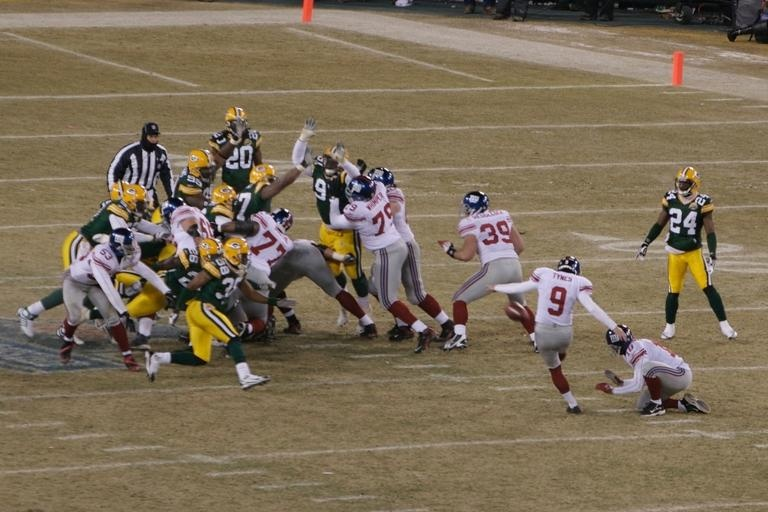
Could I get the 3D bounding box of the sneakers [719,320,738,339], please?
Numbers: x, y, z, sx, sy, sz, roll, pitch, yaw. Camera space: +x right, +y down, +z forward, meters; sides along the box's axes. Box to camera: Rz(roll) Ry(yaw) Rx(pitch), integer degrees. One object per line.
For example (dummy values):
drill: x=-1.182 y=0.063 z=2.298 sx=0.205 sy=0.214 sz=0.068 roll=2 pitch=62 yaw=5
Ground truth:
sneakers: x=5.811 y=1.210 z=26.657 sx=0.302 sy=0.290 sz=0.242 roll=4 pitch=12 yaw=5

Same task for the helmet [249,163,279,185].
helmet: x=-2.045 y=-1.360 z=26.632 sx=0.516 sy=0.352 sz=0.345 roll=-20 pitch=14 yaw=3

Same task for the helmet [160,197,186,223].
helmet: x=-3.446 y=-0.779 z=25.833 sx=0.411 sy=0.376 sz=0.423 roll=16 pitch=15 yaw=23

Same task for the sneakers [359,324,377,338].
sneakers: x=-0.254 y=1.250 z=26.678 sx=0.147 sy=0.200 sz=0.410 roll=18 pitch=2 yaw=-3

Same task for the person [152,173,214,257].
person: x=-3.250 y=-0.646 z=25.848 sx=1.019 sy=0.558 sz=1.599 roll=28 pitch=29 yaw=-28

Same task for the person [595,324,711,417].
person: x=4.262 y=1.824 z=24.674 sx=1.909 sy=1.098 sz=0.966 roll=5 pitch=-6 yaw=16

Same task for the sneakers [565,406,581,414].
sneakers: x=2.951 y=2.373 z=24.582 sx=0.211 sy=0.156 sz=0.112 roll=-1 pitch=11 yaw=9

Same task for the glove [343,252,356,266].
glove: x=-0.563 y=0.040 z=26.227 sx=0.173 sy=0.165 sz=0.170 roll=-10 pitch=5 yaw=-2

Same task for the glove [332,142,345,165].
glove: x=-0.739 y=-1.719 z=26.248 sx=0.145 sy=0.210 sz=0.319 roll=5 pitch=23 yaw=-19

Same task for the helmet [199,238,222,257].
helmet: x=-2.703 y=-0.158 z=24.752 sx=0.390 sy=0.227 sz=0.255 roll=-10 pitch=12 yaw=6

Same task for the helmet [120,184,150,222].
helmet: x=-4.002 y=-0.890 z=25.516 sx=0.437 sy=0.531 sz=0.267 roll=2 pitch=13 yaw=-8

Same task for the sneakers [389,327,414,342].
sneakers: x=0.296 y=1.293 z=26.688 sx=0.537 sy=0.206 sz=0.183 roll=1 pitch=13 yaw=7

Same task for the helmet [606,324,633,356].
helmet: x=3.620 y=1.278 z=24.378 sx=0.403 sy=0.513 sz=0.444 roll=8 pitch=13 yaw=20

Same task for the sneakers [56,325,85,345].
sneakers: x=-5.067 y=1.264 z=25.560 sx=0.450 sy=0.119 sz=0.282 roll=20 pitch=2 yaw=-13

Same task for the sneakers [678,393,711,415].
sneakers: x=4.821 y=2.276 z=24.576 sx=0.531 sy=0.201 sz=0.204 roll=20 pitch=56 yaw=0

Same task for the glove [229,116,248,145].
glove: x=-2.608 y=-2.272 z=28.313 sx=0.393 sy=0.412 sz=0.411 roll=5 pitch=23 yaw=-9

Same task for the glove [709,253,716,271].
glove: x=5.611 y=0.062 z=27.021 sx=0.144 sy=0.322 sz=0.173 roll=3 pitch=15 yaw=19

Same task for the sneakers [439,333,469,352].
sneakers: x=1.204 y=1.428 z=26.178 sx=0.573 sy=0.234 sz=0.176 roll=-5 pitch=20 yaw=2

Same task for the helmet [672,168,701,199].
helmet: x=5.117 y=-1.296 z=26.961 sx=0.500 sy=0.453 sz=0.639 roll=7 pitch=10 yaw=29

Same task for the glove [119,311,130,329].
glove: x=-4.099 y=0.981 z=24.975 sx=0.123 sy=0.095 sz=0.327 roll=12 pitch=-13 yaw=-8

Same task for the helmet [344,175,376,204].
helmet: x=-0.393 y=-1.100 z=26.122 sx=0.527 sy=0.320 sz=0.451 roll=22 pitch=-14 yaw=-14

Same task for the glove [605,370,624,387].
glove: x=3.618 y=1.914 z=24.885 sx=0.314 sy=0.099 sz=0.131 roll=37 pitch=-24 yaw=-12

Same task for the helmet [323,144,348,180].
helmet: x=-0.832 y=-1.620 z=26.497 sx=0.508 sy=0.454 sz=0.579 roll=15 pitch=-4 yaw=-7

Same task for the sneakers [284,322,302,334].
sneakers: x=-1.500 y=1.201 z=26.830 sx=0.321 sy=0.163 sz=0.163 roll=-2 pitch=20 yaw=8

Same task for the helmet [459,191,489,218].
helmet: x=1.513 y=-0.911 z=26.467 sx=0.527 sy=0.368 sz=0.362 roll=5 pitch=9 yaw=20
